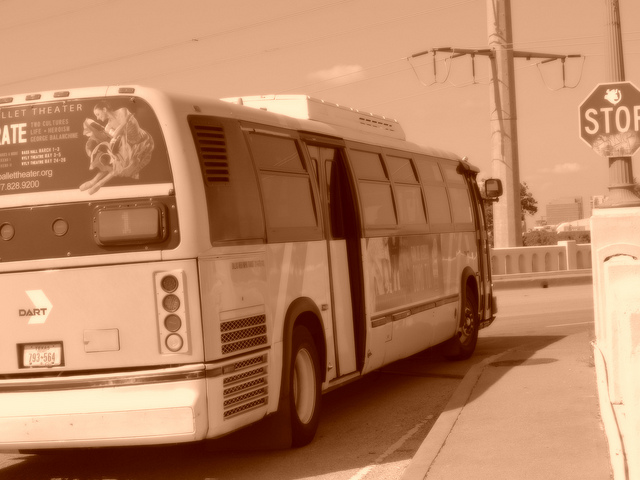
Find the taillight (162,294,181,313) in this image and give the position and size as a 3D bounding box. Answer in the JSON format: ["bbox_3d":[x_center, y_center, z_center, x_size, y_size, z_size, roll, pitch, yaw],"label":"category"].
[{"bbox_3d":[-1.297,0.548,4.899,0.149,0.156,0.036,-9,-5,21],"label":"taillight"}]

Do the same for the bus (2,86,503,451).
[{"bbox_3d":[0.722,0.354,9.058,1.815,4.150,10.781,-10,-5,34],"label":"bus"}]

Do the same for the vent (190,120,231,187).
[{"bbox_3d":[-1.057,-0.810,5.324,0.056,0.700,0.595,-15,3,23],"label":"vent"}]

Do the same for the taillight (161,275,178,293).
[{"bbox_3d":[-1.314,0.384,4.909,0.146,0.154,0.034,2,-5,0],"label":"taillight"}]

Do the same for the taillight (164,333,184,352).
[{"bbox_3d":[-1.265,0.889,4.865,0.160,0.166,0.019,-8,-5,11],"label":"taillight"}]

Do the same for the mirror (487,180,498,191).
[{"bbox_3d":[3.933,-1.252,12.812,0.215,0.147,0.222,1,7,15],"label":"mirror"}]

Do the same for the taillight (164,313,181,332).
[{"bbox_3d":[-1.283,0.716,4.881,0.144,0.153,0.036,-5,2,15],"label":"taillight"}]
